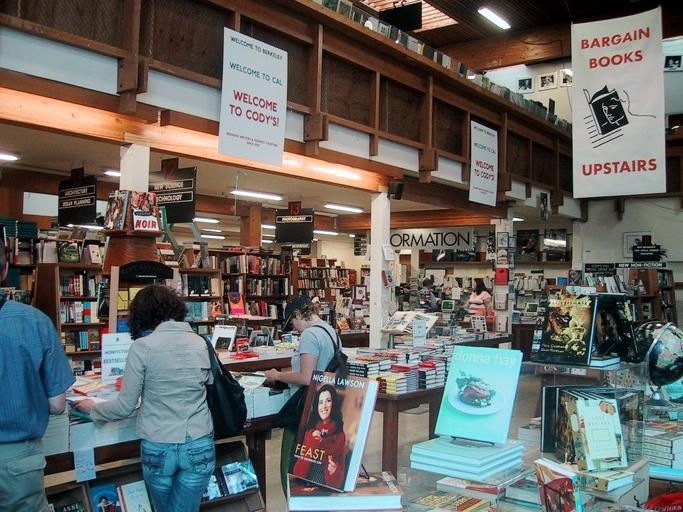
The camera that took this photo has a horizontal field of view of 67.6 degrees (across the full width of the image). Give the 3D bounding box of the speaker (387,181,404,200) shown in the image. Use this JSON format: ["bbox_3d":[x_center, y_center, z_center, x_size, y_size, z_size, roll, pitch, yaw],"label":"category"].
[{"bbox_3d":[0.903,-1.090,8.459,0.244,0.298,0.318,0,-4,9],"label":"speaker"}]
